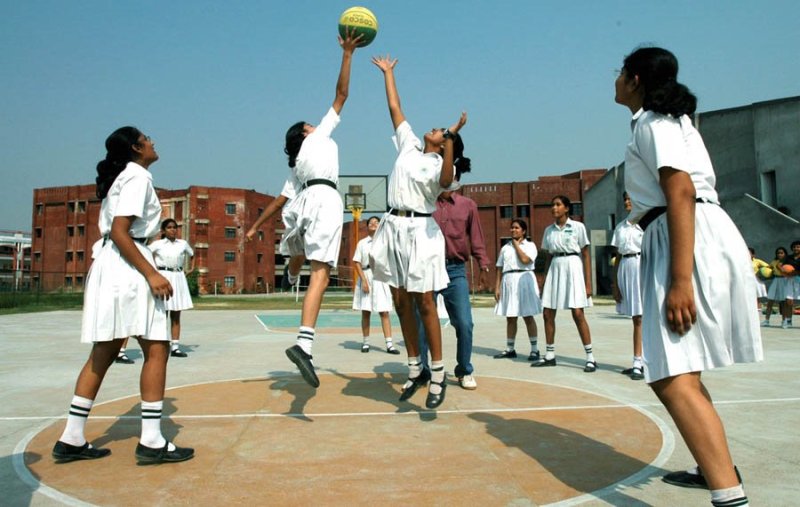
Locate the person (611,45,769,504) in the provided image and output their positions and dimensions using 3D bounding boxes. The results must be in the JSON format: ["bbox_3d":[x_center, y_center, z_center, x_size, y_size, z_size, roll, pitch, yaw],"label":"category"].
[{"bbox_3d":[2.065,0.092,4.453,0.829,3.319,0.397,-4,-4,20],"label":"person"}]

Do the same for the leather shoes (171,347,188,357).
[{"bbox_3d":[-3.434,1.548,9.511,0.249,0.101,0.124,-6,-6,35],"label":"leather shoes"}]

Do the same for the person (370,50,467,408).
[{"bbox_3d":[0.248,-0.322,6.603,1.044,3.886,0.628,-5,-5,30],"label":"person"}]

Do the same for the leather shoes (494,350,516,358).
[{"bbox_3d":[1.608,1.582,9.610,0.405,0.150,0.134,1,-8,-3],"label":"leather shoes"}]

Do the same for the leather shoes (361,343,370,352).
[{"bbox_3d":[-0.587,1.580,10.245,0.137,0.135,0.374,0,-3,-2],"label":"leather shoes"}]

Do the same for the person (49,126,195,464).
[{"bbox_3d":[-2.364,0.309,5.299,0.958,2.941,0.754,0,-5,-31],"label":"person"}]

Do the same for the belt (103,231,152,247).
[{"bbox_3d":[-2.353,-0.109,5.443,0.174,0.087,0.240,-5,-7,36],"label":"belt"}]

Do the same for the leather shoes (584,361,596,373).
[{"bbox_3d":[2.564,1.543,8.385,0.169,0.130,0.270,-4,-4,18],"label":"leather shoes"}]

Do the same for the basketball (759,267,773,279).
[{"bbox_3d":[9.689,0.537,16.387,0.303,0.243,0.318,3,3,11],"label":"basketball"}]

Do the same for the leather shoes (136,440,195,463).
[{"bbox_3d":[-1.974,1.689,5.235,0.464,0.195,0.184,0,-3,-14],"label":"leather shoes"}]

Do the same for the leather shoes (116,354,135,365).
[{"bbox_3d":[-4.039,1.562,9.022,0.343,0.138,0.177,-1,-4,20],"label":"leather shoes"}]

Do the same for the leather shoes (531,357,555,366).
[{"bbox_3d":[2.047,1.573,8.789,0.352,0.141,0.139,3,-8,-6],"label":"leather shoes"}]

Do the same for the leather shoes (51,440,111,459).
[{"bbox_3d":[-2.709,1.691,5.284,0.449,0.201,0.185,2,-1,-22],"label":"leather shoes"}]

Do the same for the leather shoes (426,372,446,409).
[{"bbox_3d":[0.356,1.451,6.407,0.137,0.151,0.384,-17,32,31],"label":"leather shoes"}]
